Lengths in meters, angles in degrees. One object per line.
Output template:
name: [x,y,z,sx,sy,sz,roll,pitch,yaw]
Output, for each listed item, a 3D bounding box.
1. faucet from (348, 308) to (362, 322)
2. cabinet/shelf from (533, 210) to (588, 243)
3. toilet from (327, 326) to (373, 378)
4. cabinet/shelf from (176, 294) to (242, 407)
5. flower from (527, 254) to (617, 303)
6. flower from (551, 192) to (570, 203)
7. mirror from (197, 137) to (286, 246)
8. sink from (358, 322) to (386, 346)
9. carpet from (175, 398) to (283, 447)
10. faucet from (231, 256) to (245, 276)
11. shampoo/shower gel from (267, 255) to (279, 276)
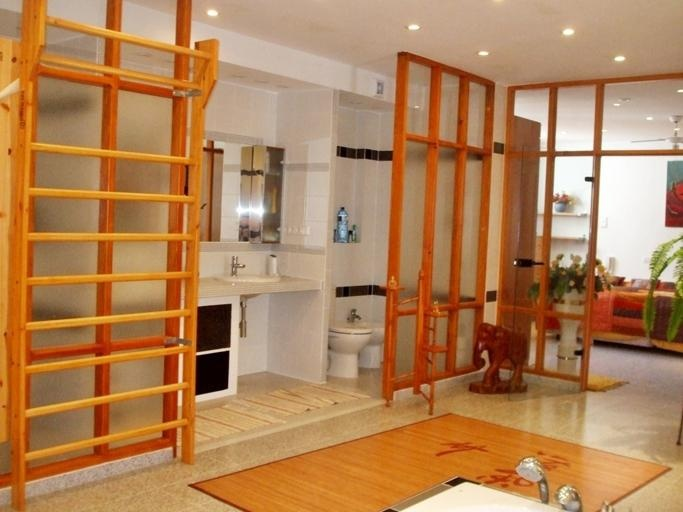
faucet: [0.157,0.711,6.702,0.162,0.146,0.320,5,6,4]
cabinet/shelf: [2.467,-0.321,6.017,0.323,0.321,0.349,10,9,43]
toilet: [0.052,1.036,6.179,0.563,0.479,0.570,-1,1,42]
cabinet/shelf: [-1.425,0.869,5.269,0.719,0.936,0.674,0,2,-33]
flower: [2.665,0.219,6.317,0.689,0.398,0.639,-3,6,-16]
flower: [2.398,-0.636,6.073,0.132,0.049,0.127,1,1,-36]
mirror: [-1.038,-0.651,5.579,1.263,1.038,0.451,-3,8,-42]
sink: [0.328,0.904,6.445,0.285,0.169,0.223,3,3,34]
carpet: [-0.906,1.352,4.466,0.499,0.007,0.563,5,9,40]
faucet: [-1.064,0.101,5.734,0.149,0.198,0.211,4,6,-9]
shampoo/shower gel: [-0.741,0.098,6.005,0.126,0.217,0.196,4,6,-7]
